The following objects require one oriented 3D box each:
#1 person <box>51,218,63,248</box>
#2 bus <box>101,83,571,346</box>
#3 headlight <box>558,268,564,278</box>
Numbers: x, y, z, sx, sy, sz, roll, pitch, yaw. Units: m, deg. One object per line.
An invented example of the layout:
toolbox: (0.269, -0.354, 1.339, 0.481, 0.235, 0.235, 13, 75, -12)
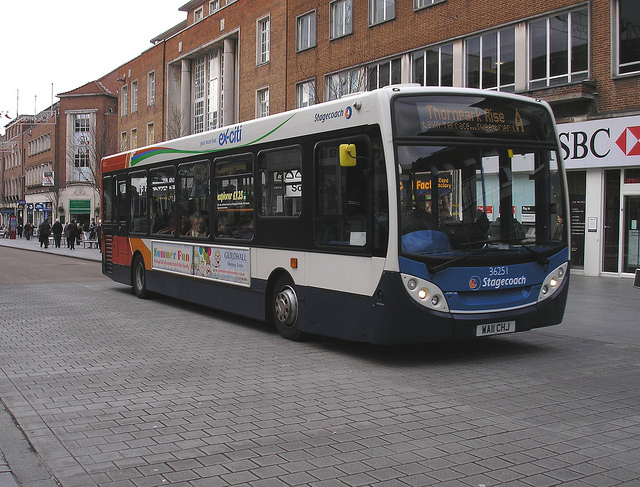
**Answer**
person: (-17.193, -0.592, 39.933, 0.460, 1.691, 1.317, -1, 3, -23)
bus: (-1.635, -0.454, 11.997, 2.922, 3.705, 12.296, -3, 4, -43)
headlight: (3.299, 0.415, 8.425, 0.077, 0.095, 0.088, -2, -1, -8)
